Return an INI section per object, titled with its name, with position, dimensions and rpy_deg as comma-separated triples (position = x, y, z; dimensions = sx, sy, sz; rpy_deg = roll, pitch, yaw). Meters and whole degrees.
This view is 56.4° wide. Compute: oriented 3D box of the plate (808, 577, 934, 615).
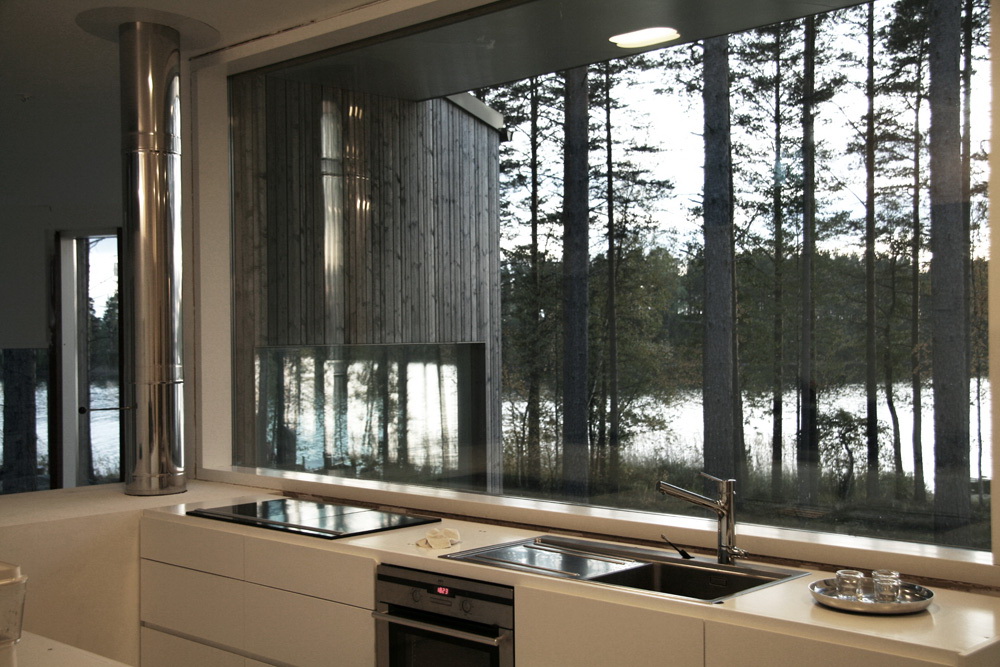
[plate]
position = 1.422, 1.006, 3.576
dimensions = 0.454, 0.100, 0.245
rpy_deg = 0, -3, 11
